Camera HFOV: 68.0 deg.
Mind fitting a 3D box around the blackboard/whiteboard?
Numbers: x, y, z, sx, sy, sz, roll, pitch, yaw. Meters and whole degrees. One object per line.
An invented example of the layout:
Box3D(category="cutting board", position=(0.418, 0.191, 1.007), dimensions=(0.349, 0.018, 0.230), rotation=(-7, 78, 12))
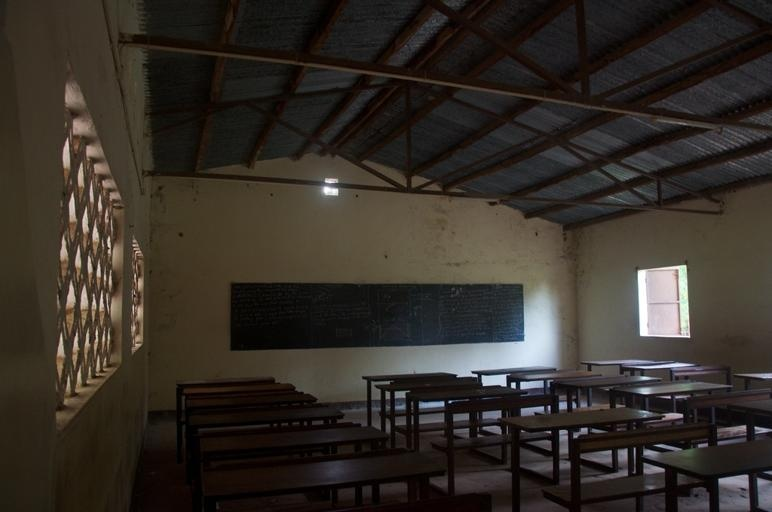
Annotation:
Box3D(category="blackboard/whiteboard", position=(-0.032, 0.961, 9.492), dimensions=(5.043, 1.006, 0.047), rotation=(0, -7, -13))
